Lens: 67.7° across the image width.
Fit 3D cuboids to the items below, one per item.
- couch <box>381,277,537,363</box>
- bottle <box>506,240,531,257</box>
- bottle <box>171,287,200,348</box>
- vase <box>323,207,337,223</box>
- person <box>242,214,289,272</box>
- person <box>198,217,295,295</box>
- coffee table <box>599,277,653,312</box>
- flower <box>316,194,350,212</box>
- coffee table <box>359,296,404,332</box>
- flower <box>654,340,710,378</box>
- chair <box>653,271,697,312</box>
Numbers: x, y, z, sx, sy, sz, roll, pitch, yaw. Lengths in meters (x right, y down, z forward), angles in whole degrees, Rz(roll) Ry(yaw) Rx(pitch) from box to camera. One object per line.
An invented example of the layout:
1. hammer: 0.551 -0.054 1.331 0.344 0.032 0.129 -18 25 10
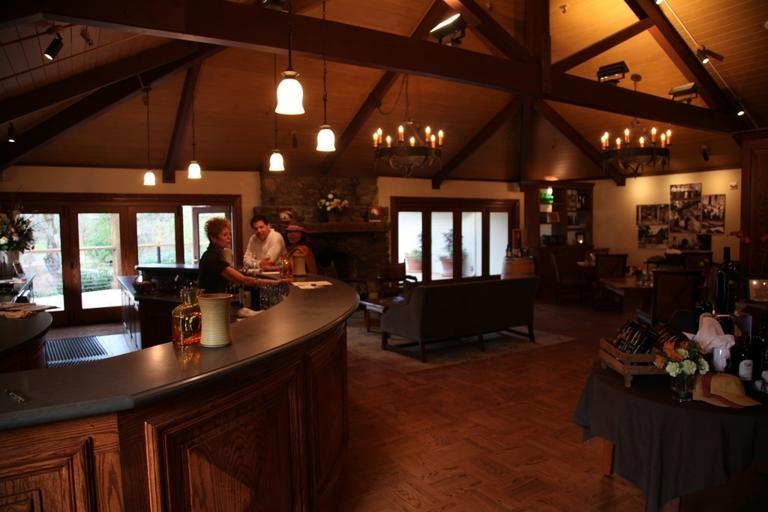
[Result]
1. couch: 1.173 0.812 8.344 2.068 1.051 0.661 -5 11 -26
2. bottle: 2.774 -0.134 12.282 0.745 0.401 0.403 5 -4 -26
3. bottle: -1.353 0.415 3.922 0.182 0.373 0.175 0 10 0
4. vase: -1.102 -0.868 11.837 0.284 0.321 0.285 -1 1 0
5. person: -1.730 -0.098 8.110 0.687 0.923 0.712 2 8 8
6. person: -1.538 0.014 6.280 0.900 0.889 0.559 -1 1 2
7. coffee table: 4.241 0.773 10.303 0.633 0.466 0.980 1 0 -16
8. flower: -1.079 -1.114 11.908 0.459 0.230 0.468 4 7 22
9. coffee table: -0.151 0.973 9.265 0.686 0.416 0.665 -3 4 -38
10. flower: 2.272 0.778 4.395 0.291 0.280 0.379 1 1 8
11. chair: 4.588 0.535 8.991 0.526 0.827 0.584 2 11 10
